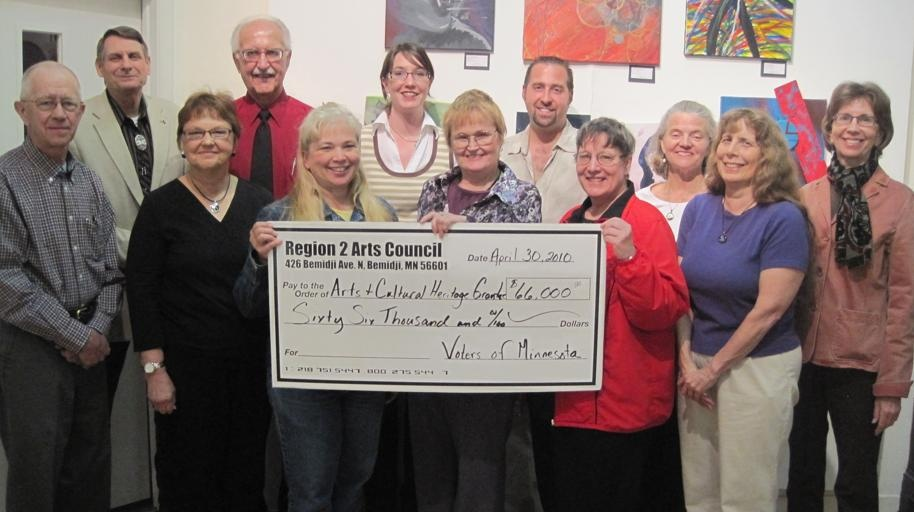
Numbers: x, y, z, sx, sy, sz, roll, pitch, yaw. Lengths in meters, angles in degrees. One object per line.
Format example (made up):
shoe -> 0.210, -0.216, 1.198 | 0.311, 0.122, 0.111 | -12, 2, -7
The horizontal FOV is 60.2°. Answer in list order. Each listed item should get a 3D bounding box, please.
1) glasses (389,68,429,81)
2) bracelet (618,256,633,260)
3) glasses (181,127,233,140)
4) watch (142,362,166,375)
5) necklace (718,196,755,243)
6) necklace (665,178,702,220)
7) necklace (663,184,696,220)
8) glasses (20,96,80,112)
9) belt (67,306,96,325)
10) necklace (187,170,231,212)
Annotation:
glasses -> -0.356, -1.334, 5.783 | 0.286, 0.070, 0.070 | -3, 17, -10
bracelet -> 1.041, 0.013, 4.843 | 0.086, 0.029, 0.014 | 2, 17, 6
glasses -> -1.628, -0.801, 5.159 | 0.306, 0.073, 0.070 | -4, 17, -15
watch -> -1.975, 0.719, 5.109 | 0.123, 0.068, 0.110 | -15, -8, -7
necklace -> 1.823, -0.233, 5.110 | 0.029, 0.330, 0.187 | 15, 20, -40
necklace -> 1.674, -0.440, 5.881 | 0.331, 0.300, 0.104 | 0, -4, 16
necklace -> 1.629, -0.393, 5.750 | 0.338, 0.289, 0.177 | -1, -4, 7
glasses -> -2.678, -1.009, 5.249 | 0.306, 0.090, 0.094 | -7, 18, -25
belt -> -2.524, 0.376, 5.290 | 0.131, 0.057, 0.122 | 2, 23, 31
necklace -> -1.629, -0.416, 5.203 | 0.211, 0.261, 0.071 | -28, -7, -25
